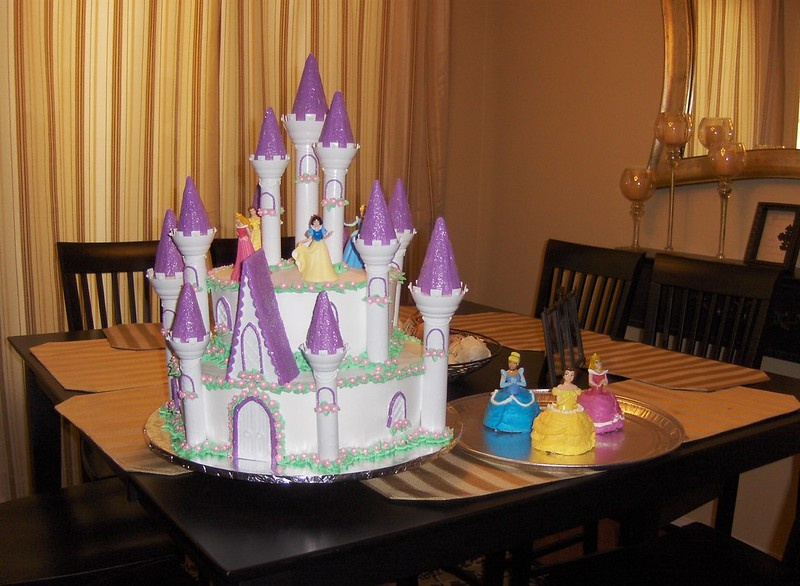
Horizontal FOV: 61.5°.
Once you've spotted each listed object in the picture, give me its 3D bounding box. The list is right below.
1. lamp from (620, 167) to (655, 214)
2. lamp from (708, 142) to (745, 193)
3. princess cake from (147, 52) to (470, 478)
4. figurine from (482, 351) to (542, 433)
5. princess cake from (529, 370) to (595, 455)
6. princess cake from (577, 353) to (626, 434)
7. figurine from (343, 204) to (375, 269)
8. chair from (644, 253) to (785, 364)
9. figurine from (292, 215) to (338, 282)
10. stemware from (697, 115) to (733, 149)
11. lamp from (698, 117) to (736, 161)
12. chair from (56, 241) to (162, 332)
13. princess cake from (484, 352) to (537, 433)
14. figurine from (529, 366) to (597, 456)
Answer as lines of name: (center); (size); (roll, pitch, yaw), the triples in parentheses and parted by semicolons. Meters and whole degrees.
lamp: (1.087, -0.459, 3.071); (0.131, 0.220, 0.138); (0, 1, -9)
lamp: (1.380, -0.521, 2.789); (0.204, 0.209, 0.112); (-11, 17, -40)
princess cake: (-0.230, -0.087, 1.457); (0.692, 0.861, 0.693); (3, -4, -7)
figurine: (0.235, 0.215, 1.491); (0.122, 0.168, 0.156); (0, 9, -3)
princess cake: (0.336, 0.233, 1.361); (0.127, 0.162, 0.130); (0, 1, 31)
princess cake: (0.429, 0.211, 1.450); (0.106, 0.153, 0.103); (-1, 4, 2)
figurine: (-0.092, -0.124, 1.532); (0.068, 0.136, 0.087); (2, 12, -34)
chair: (1.075, 0.057, 2.283); (0.328, 0.584, 0.313); (-3, 11, -36)
figurine: (-0.171, -0.086, 1.318); (0.080, 0.145, 0.052); (-8, -21, 7)
stemware: (1.347, -0.686, 2.847); (0.144, 0.175, 0.155); (1, 7, 6)
lamp: (1.375, -0.682, 2.921); (0.150, 0.179, 0.157); (10, 22, 30)
chair: (-1.077, -0.029, 2.445); (0.279, 0.507, 0.308); (-7, 14, -35)
princess cake: (0.236, 0.217, 1.490); (0.121, 0.167, 0.153); (1, 8, -1)
figurine: (0.322, 0.227, 1.380); (0.132, 0.165, 0.149); (-2, 10, -8)
